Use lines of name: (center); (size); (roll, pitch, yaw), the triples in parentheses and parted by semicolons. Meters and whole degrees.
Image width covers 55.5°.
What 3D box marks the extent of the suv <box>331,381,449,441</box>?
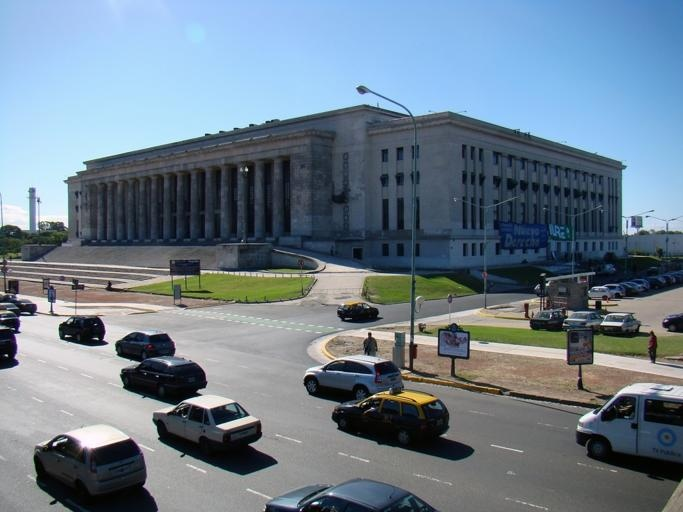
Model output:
suv: (1.947, 6.138, 25.218); (3.969, 1.084, 1.851); (3, 0, 30)

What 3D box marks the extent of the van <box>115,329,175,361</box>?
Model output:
van: (-11.317, 5.073, 36.941); (4.398, 1.366, 1.953); (0, 0, 43)

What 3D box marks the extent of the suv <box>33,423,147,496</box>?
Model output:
suv: (-8.405, 6.699, 21.550); (3.446, 1.195, 2.039); (9, 8, 36)

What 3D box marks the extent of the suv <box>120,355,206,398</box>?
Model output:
suv: (-8.441, 5.514, 30.527); (4.467, 1.575, 3.566); (0, 0, -25)

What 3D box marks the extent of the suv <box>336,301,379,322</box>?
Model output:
suv: (1.445, 4.430, 51.782); (3.117, 1.019, 1.448); (-5, 8, -32)

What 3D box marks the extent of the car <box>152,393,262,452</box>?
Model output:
car: (-5.031, 6.134, 24.163); (3.468, 1.030, 1.915); (6, 5, 33)

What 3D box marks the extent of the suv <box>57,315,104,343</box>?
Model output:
suv: (-17.388, 4.721, 43.290); (3.316, 1.075, 1.573); (5, 3, 37)
